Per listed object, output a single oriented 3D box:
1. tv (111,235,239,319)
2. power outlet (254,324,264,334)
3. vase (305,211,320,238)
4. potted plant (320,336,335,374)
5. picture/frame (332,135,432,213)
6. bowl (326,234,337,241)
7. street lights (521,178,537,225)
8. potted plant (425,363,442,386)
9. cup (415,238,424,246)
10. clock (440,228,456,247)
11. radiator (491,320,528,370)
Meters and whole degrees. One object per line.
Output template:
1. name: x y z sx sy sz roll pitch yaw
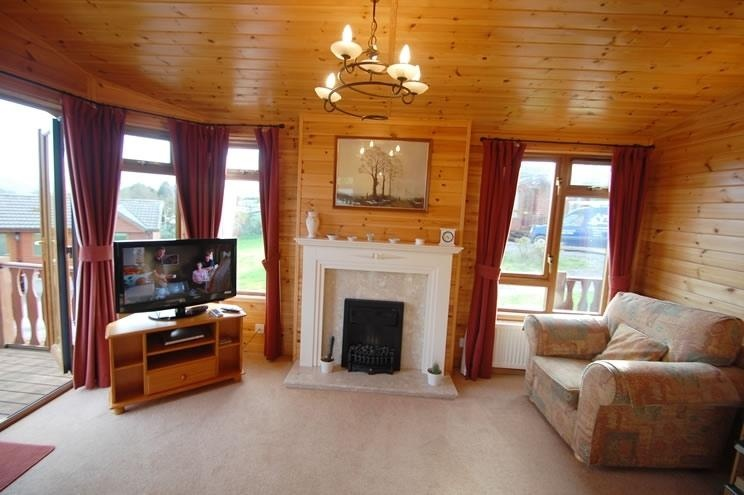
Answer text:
1. tv: -2.250 0.346 6.139 1.139 0.679 0.285 -1 2 -31
2. power outlet: -1.447 1.029 6.975 0.161 0.152 0.023 1 5 2
3. vase: -0.727 -0.279 6.590 0.169 0.321 0.219 1 5 -7
4. potted plant: -0.538 1.283 6.594 0.177 0.406 0.275 1 5 -4
5. picture/frame: 0.164 -0.925 6.546 1.088 0.679 0.037 2 6 -1
6. bowl: -0.496 -0.130 6.596 0.094 0.052 0.087 0 -4 0
7. street lights: 1.968 -0.563 6.836 0.185 0.563 0.040 1 6 -5
8. potted plant: 0.718 1.480 6.393 0.256 0.288 0.244 1 -2 -1
9. cup: 0.562 -0.069 6.478 0.096 0.082 0.122 1 5 3
10. clock: 0.886 -0.123 6.447 0.162 0.202 0.152 2 5 4
11. radiator: 1.750 1.235 6.794 0.072 0.489 0.622 11 -11 -28
